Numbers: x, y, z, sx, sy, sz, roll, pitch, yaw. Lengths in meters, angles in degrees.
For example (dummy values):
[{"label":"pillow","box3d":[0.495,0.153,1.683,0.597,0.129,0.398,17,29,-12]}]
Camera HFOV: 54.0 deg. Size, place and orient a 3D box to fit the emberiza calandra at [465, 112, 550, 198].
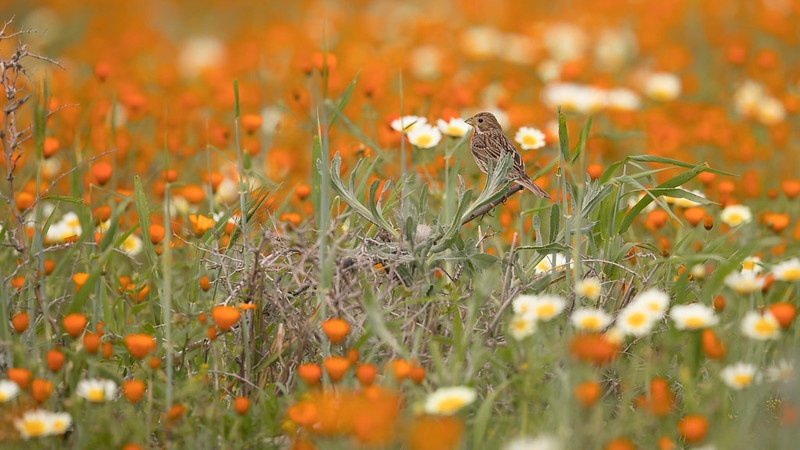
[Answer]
[{"label":"emberiza calandra","box3d":[0.667,-0.425,5.009,0.254,0.494,0.773,8,10,-42]}]
